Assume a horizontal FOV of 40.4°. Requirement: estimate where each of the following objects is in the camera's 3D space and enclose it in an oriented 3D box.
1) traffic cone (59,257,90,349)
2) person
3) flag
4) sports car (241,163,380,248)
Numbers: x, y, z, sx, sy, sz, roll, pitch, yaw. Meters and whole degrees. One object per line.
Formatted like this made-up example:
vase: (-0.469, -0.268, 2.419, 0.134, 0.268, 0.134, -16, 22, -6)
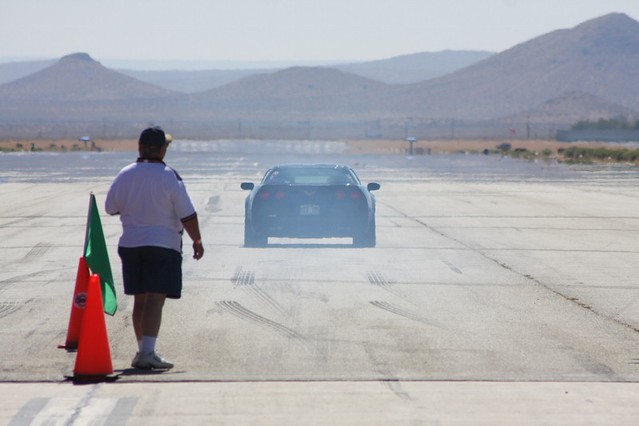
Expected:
traffic cone: (-2.984, 1.088, 10.715, 0.432, 1.095, 0.411, 3, -2, 6)
person: (-1.964, 0.379, 10.289, 0.905, 2.704, 1.013, -11, 17, -40)
flag: (-2.699, 0.541, 10.834, 0.438, 1.402, 0.478, 1, -2, 22)
sports car: (-0.192, -0.420, 17.802, 2.654, 1.334, 4.206, -1, 9, 2)
